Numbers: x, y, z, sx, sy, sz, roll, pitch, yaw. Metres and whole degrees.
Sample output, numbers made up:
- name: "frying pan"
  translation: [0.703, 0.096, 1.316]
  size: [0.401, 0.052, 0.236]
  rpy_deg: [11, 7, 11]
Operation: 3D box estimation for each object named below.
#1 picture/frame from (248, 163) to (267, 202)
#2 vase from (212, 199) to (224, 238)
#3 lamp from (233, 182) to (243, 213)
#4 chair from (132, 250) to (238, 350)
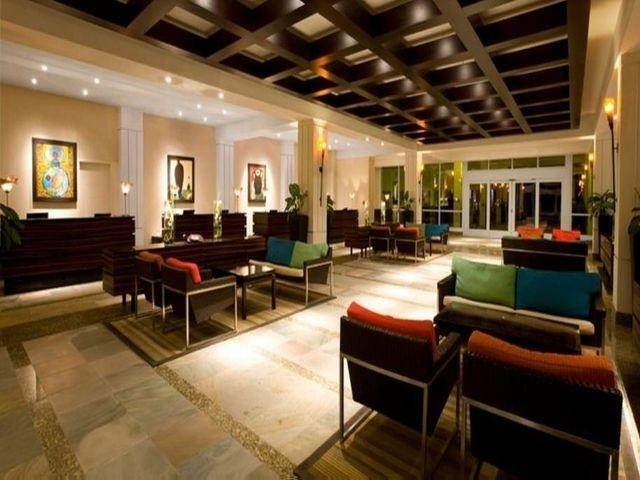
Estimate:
- name: "picture/frame"
  translation: [-2.155, -1.948, 15.060]
  size: [0.136, 1.365, 0.959]
  rpy_deg: [7, 12, 35]
- name: "vase"
  translation: [-1.964, -0.388, 8.425]
  size: [0.118, 0.762, 0.351]
  rpy_deg: [-4, 10, -21]
- name: "lamp"
  translation: [-2.563, -1.257, 13.798]
  size: [0.276, 0.818, 1.628]
  rpy_deg: [-2, 11, -10]
- name: "chair"
  translation: [-1.910, 0.730, 6.625]
  size: [1.169, 1.711, 1.196]
  rpy_deg: [4, 5, 41]
